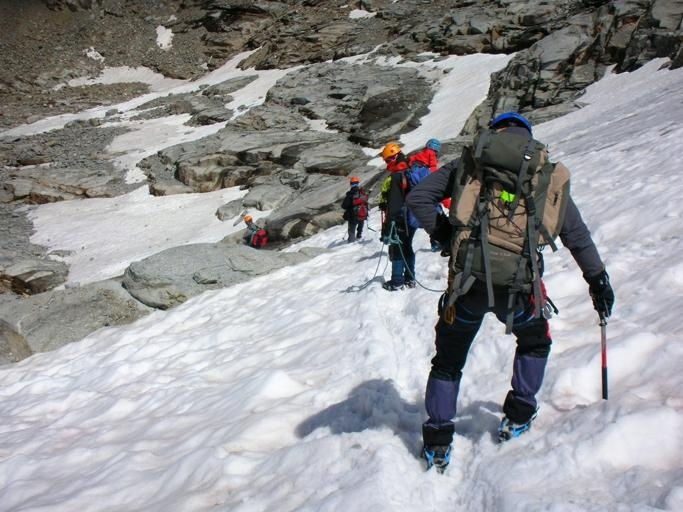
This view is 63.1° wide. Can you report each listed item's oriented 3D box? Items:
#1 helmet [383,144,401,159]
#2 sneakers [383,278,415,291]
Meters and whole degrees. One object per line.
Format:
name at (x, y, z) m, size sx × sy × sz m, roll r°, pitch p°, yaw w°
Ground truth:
helmet at (0.844, -1.812, 9.645) m, size 0.294 × 0.239 × 0.422 m, roll -7°, pitch 22°, yaw 3°
sneakers at (1.060, 0.520, 10.200) m, size 0.641 × 0.202 × 0.178 m, roll -2°, pitch 27°, yaw 11°
